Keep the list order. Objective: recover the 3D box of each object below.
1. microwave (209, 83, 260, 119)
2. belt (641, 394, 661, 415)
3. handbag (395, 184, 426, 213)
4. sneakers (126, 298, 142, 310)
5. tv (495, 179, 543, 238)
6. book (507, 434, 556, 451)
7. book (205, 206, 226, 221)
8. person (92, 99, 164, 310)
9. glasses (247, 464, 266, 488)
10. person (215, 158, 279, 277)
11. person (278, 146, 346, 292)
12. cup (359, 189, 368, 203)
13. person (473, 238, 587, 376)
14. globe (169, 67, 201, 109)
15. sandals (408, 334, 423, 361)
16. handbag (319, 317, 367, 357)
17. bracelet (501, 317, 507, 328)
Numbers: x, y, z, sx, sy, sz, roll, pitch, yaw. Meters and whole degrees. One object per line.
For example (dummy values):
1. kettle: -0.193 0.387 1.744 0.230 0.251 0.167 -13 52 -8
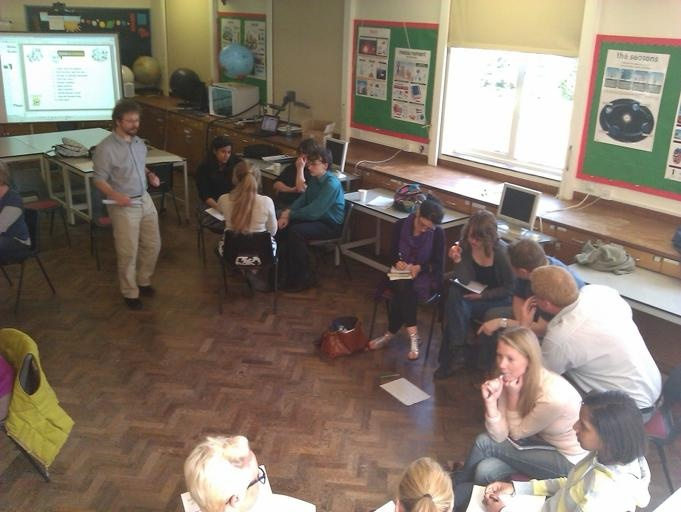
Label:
1. microwave: -1.643 -2.514 8.279 0.562 0.498 0.784 -10 20 -39
2. belt: 1.785 0.860 3.082 0.103 0.032 0.131 18 58 -10
3. handbag: 0.671 -0.570 5.252 0.239 0.128 0.333 35 40 27
4. sneakers: -1.980 0.447 5.128 0.183 0.076 0.070 16 25 42
5. tv: 1.589 -0.399 4.768 0.190 0.517 0.469 -19 33 -38
6. book: 1.056 1.031 2.949 0.122 0.030 0.127 0 6 -6
7. book: -1.250 -0.427 5.423 0.245 0.058 0.165 27 38 26
8. person: -1.954 -0.475 5.009 0.453 1.860 0.513 20 30 36
9. glasses: -0.344 0.939 2.271 0.039 0.087 0.082 17 66 9
10. person: -0.873 -0.415 5.005 0.521 0.861 0.554 -3 24 -10
11. person: -0.350 -0.414 5.574 0.742 1.382 0.505 -17 30 -35
12. cup: 0.230 -0.630 5.582 0.136 0.145 0.142 4 13 -1
13. person: 1.237 0.342 3.551 0.827 1.127 0.445 1 44 15
14. globe: -2.821 -3.039 9.434 0.368 0.461 0.474 6 10 -28
15. sandals: 0.629 0.778 4.548 0.083 0.135 0.248 2 23 13
16. handbag: 0.023 0.703 4.573 0.279 0.262 0.314 20 29 36
17. bracelet: 1.194 0.492 3.949 0.046 0.068 0.063 3 26 14
